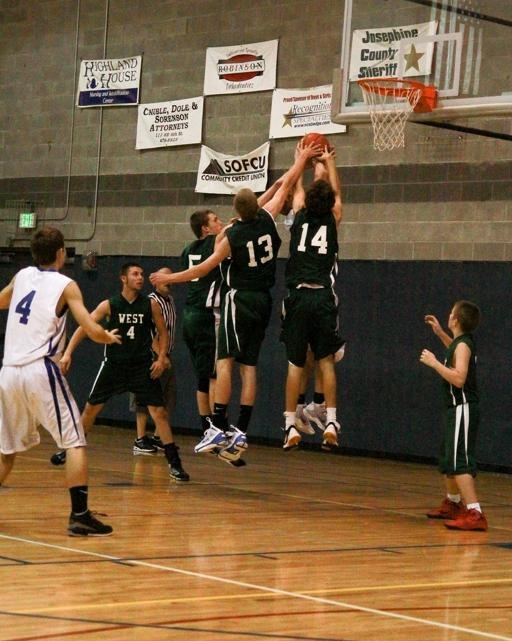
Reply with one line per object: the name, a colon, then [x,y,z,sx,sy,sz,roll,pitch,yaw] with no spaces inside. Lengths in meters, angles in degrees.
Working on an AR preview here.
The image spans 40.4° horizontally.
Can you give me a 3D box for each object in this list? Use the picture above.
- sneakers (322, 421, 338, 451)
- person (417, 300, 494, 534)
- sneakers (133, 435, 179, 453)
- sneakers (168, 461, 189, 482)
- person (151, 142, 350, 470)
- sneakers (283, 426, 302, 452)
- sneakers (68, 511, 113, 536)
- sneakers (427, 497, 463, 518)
sneakers: [0.529,0.817,4.967,0.115,0.131,0.293,3,-25,5]
person: [1.350,0.673,4.738,0.461,1.608,1.169,2,4,18]
sneakers: [-1.248,1.414,8.060,0.232,0.257,0.617,6,-10,-41]
sneakers: [-0.680,1.327,6.085,0.092,0.096,0.242,2,-4,-29]
person: [-0.049,-0.164,5.162,1.163,2.485,0.930,1,3,5]
sneakers: [0.276,0.848,4.958,0.095,0.107,0.220,7,-42,-16]
sneakers: [-0.842,1.031,3.571,0.265,0.125,0.099,4,-4,-21]
sneakers: [1.315,1.304,4.865,0.285,0.122,0.106,1,2,-9]
